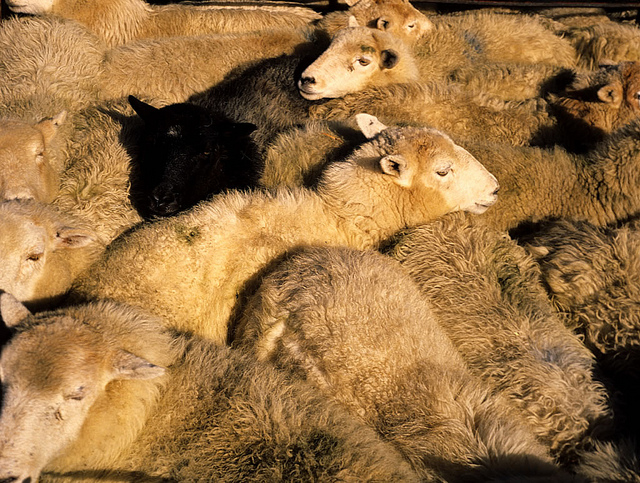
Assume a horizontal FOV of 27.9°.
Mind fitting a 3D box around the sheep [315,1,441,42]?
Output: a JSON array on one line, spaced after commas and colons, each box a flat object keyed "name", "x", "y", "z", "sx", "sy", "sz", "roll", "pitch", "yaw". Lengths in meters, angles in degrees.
[{"name": "sheep", "x": 0.777, "y": -2.797, "z": 16.519, "sx": 1.608, "sy": 0.804, "sz": 0.468, "roll": 1, "pitch": 70, "yaw": -13}]
